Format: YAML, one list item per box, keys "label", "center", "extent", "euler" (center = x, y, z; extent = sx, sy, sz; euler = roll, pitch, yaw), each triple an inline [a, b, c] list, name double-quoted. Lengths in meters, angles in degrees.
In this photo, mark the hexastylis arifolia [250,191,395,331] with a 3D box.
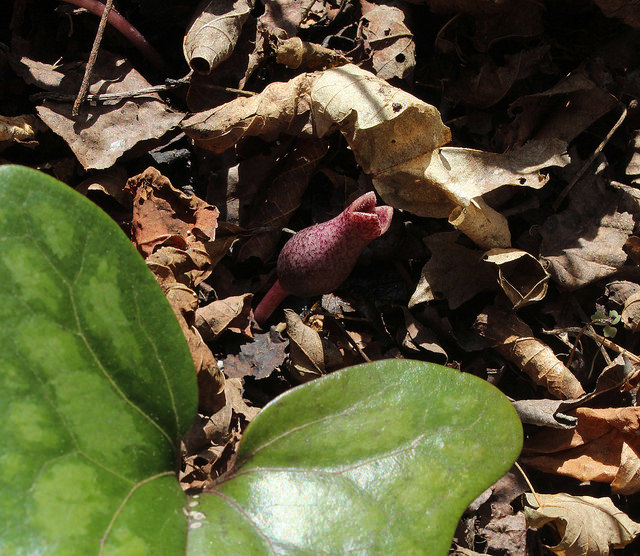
- label: "hexastylis arifolia"
  center: [-0.026, -0.042, 2.399]
  extent: [0.221, 0.635, 0.212]
  euler: [32, 32, -39]
